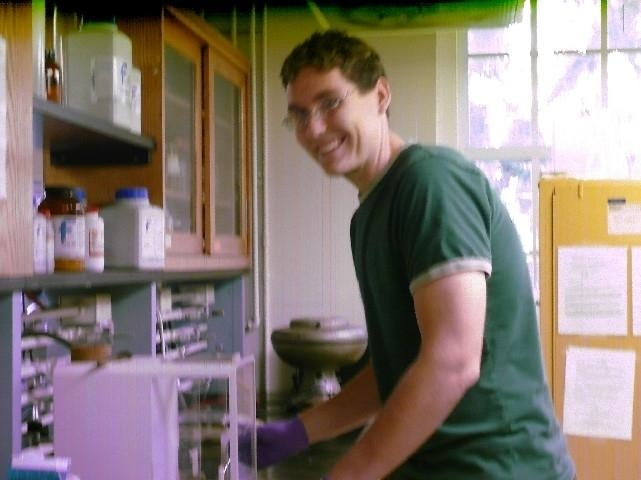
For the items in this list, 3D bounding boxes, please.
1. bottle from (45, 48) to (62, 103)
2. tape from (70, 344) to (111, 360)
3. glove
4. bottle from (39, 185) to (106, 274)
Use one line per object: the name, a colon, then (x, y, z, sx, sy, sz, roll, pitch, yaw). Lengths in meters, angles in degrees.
bottle: (-0.657, -0.407, 1.712, 0.036, 0.125, 0.073, -2, 0, -19)
tape: (-0.418, 0.206, 1.265, 0.038, 0.019, 0.041, -2, -4, 21)
glove: (-0.108, 0.421, 1.417, 0.146, 0.127, 0.062, -13, -4, -12)
bottle: (-0.573, -0.023, 1.619, 0.080, 0.188, 0.239, -2, 0, 15)
